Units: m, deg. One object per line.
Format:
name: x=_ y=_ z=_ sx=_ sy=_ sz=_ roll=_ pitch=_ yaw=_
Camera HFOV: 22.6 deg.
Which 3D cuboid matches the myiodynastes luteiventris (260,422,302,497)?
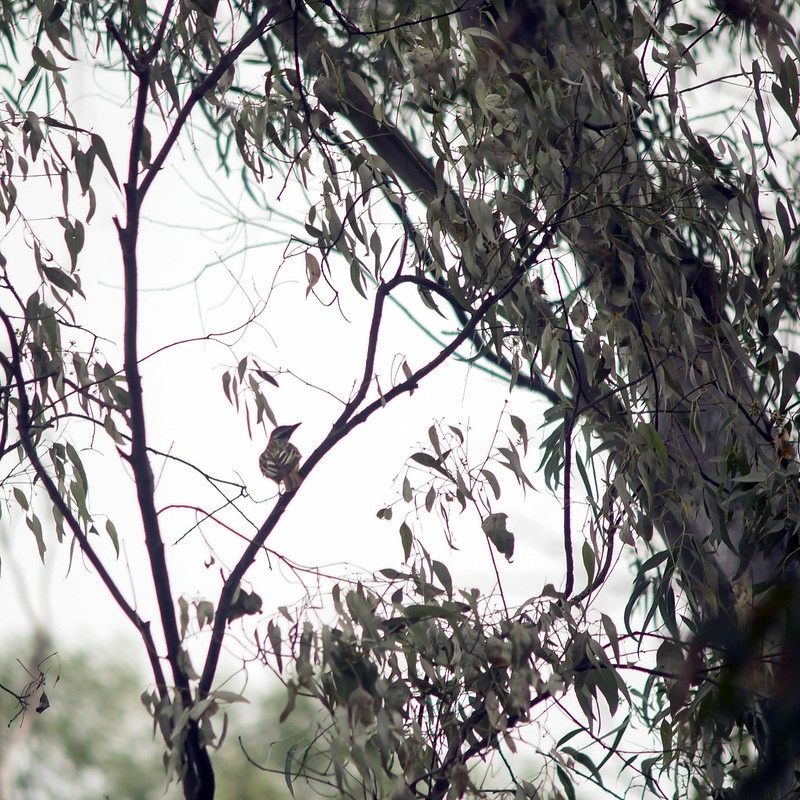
myiodynastes luteiventris: x=-0.205 y=0.094 z=3.434 sx=0.064 sy=0.131 sz=0.057 roll=-14 pitch=-66 yaw=1
